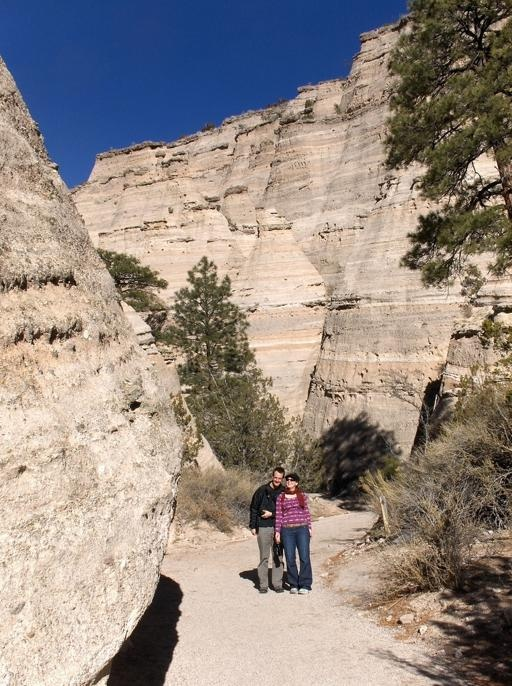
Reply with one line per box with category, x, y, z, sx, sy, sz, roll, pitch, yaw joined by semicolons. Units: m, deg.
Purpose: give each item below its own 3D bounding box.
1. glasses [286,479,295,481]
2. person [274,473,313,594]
glasses;0.327;1.328;5.683;0.040;0.013;0.042;-9;-30;26
person;0.345;1.818;5.620;0.334;1.088;0.328;-3;-9;1
